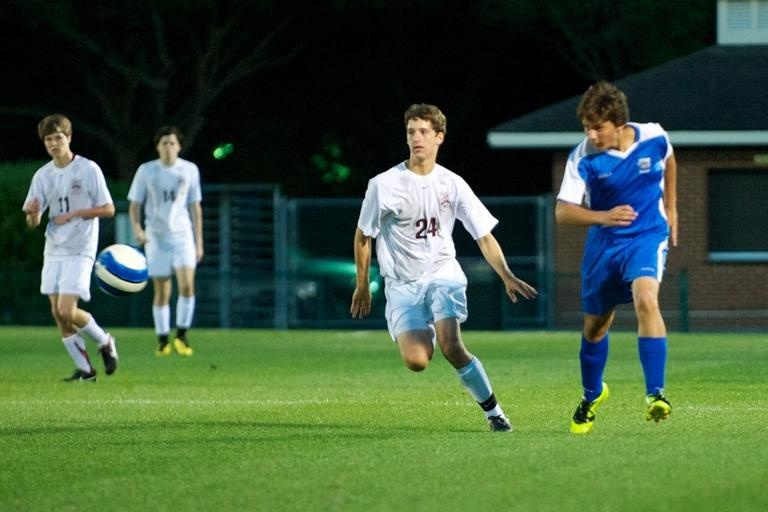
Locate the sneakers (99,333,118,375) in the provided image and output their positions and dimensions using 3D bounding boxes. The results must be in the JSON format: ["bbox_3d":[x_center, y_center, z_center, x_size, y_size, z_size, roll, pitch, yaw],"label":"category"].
[{"bbox_3d":[-3.673,1.314,14.786,0.206,0.563,0.264,-8,4,20],"label":"sneakers"}]

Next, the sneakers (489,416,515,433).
[{"bbox_3d":[1.171,1.699,11.345,0.240,0.160,0.222,-3,-1,4],"label":"sneakers"}]

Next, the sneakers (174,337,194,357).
[{"bbox_3d":[-3.050,1.385,16.882,0.306,0.198,0.155,24,-47,-16],"label":"sneakers"}]

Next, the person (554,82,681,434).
[{"bbox_3d":[2.381,-0.003,11.386,1.161,3.467,0.921,-3,-1,13],"label":"person"}]

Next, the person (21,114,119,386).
[{"bbox_3d":[-3.928,-0.099,14.012,1.058,2.707,0.915,-3,-1,-15],"label":"person"}]

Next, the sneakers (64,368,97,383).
[{"bbox_3d":[-3.812,1.537,14.226,0.502,0.178,0.161,1,-5,-1],"label":"sneakers"}]

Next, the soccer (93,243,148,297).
[{"bbox_3d":[-3.357,0.164,14.507,0.693,0.510,0.689,24,13,9],"label":"soccer"}]

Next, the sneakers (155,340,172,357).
[{"bbox_3d":[-3.253,1.374,16.482,0.182,0.187,0.287,1,2,-14],"label":"sneakers"}]

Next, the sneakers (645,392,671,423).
[{"bbox_3d":[2.679,1.502,10.968,0.172,0.178,0.357,0,-29,4],"label":"sneakers"}]
